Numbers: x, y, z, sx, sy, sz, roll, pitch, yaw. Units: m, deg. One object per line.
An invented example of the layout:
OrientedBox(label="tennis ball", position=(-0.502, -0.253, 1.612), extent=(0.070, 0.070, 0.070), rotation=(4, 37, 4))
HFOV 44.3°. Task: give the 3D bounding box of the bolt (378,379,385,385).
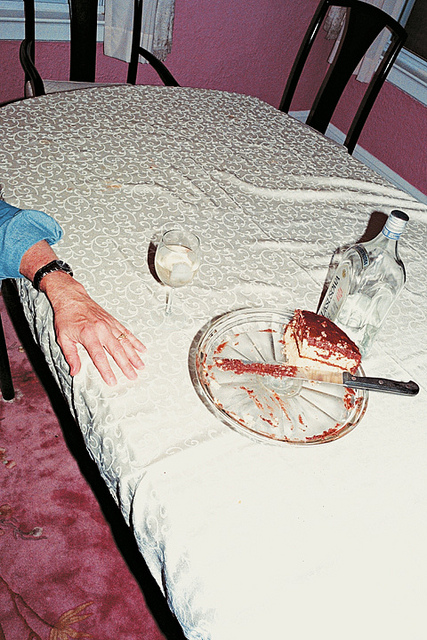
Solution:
OrientedBox(label="bolt", position=(0.230, 0.084, 0.714), extent=(0.006, 0.001, 0.006), rotation=(-4, 34, 1))

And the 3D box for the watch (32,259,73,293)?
OrientedBox(label="watch", position=(-0.252, -0.068, 0.820), extent=(0.025, 0.043, 0.043), rotation=(62, 15, 15))

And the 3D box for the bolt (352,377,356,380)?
OrientedBox(label="bolt", position=(0.188, 0.079, 0.701), extent=(0.005, 0.001, 0.005), rotation=(1, 41, 1))

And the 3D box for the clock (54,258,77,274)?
OrientedBox(label="clock", position=(-0.237, -0.085, 0.836), extent=(0.037, 0.032, 0.022), rotation=(2, 65, -28))
